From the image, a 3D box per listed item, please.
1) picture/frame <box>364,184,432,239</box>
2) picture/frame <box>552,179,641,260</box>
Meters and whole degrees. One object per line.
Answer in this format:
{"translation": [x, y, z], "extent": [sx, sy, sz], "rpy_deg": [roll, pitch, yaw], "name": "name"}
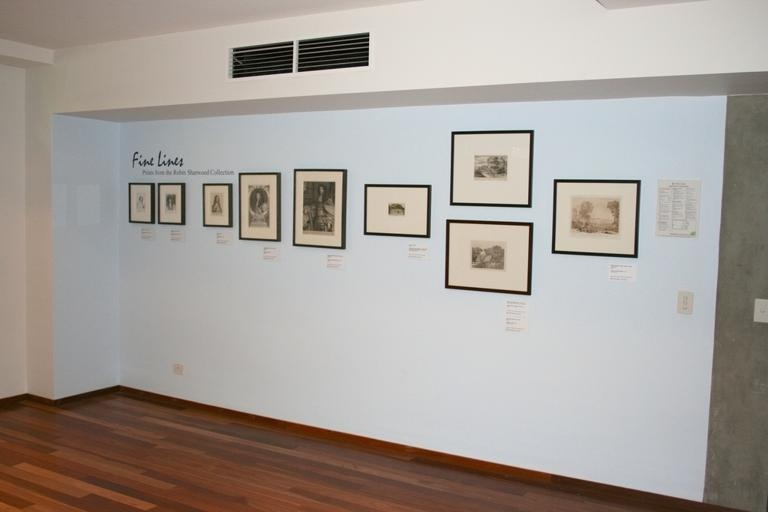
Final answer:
{"translation": [0.163, -0.426, 5.026], "extent": [0.487, 0.382, 0.022], "rpy_deg": [2, 3, 21], "name": "picture/frame"}
{"translation": [1.802, -0.322, 4.504], "extent": [0.634, 0.619, 0.023], "rpy_deg": [3, 6, 24], "name": "picture/frame"}
